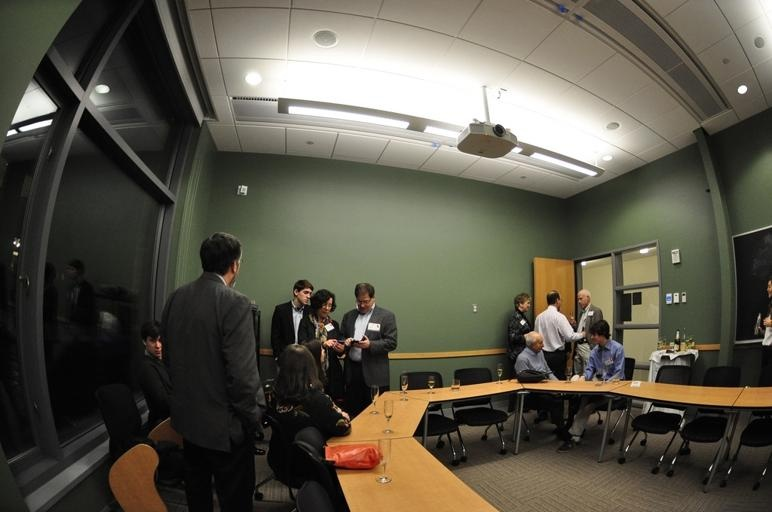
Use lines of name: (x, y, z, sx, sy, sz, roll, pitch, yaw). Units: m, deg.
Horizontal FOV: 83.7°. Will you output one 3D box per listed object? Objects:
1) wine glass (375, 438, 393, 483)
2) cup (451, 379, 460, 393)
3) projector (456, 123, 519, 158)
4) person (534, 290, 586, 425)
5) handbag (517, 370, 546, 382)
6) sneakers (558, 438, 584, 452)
wine glass: (-0.015, 1.554, 3.396, 0.106, 0.354, 0.295, -1, 1, -2)
cup: (0.894, 1.621, 5.463, 0.128, 0.123, 0.129, -1, -2, 0)
projector: (1.345, -1.589, 5.838, 0.778, 0.390, 0.512, -2, 1, -16)
person: (2.960, 1.650, 7.290, 0.624, 2.091, 0.846, 1, -3, -30)
handbag: (1.919, 1.577, 5.700, 0.231, 0.089, 0.179, -8, -14, 31)
sneakers: (2.360, 2.426, 5.587, 0.374, 0.145, 0.137, 6, -12, -22)
